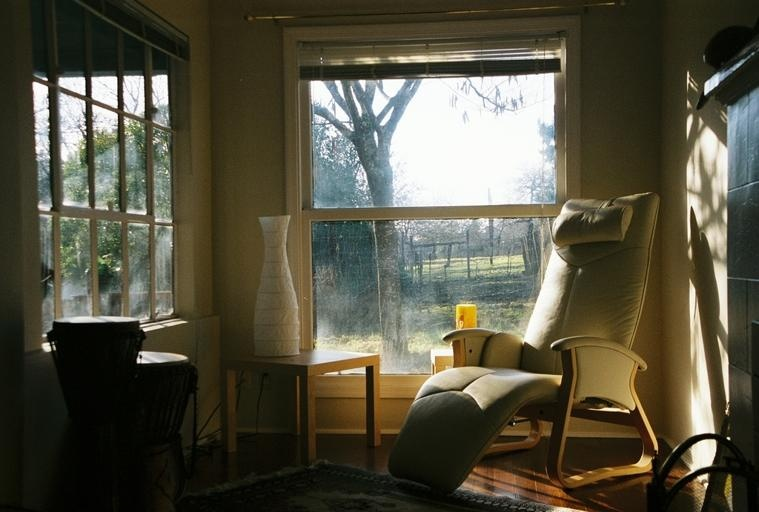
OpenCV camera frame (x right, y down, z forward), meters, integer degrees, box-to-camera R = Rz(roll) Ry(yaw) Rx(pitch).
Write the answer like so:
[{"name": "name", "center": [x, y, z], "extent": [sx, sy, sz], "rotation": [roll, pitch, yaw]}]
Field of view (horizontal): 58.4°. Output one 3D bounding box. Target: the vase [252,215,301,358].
[{"name": "vase", "center": [-0.675, 0.188, 4.415], "extent": [0.281, 0.879, 0.315], "rotation": [-2, 7, -8]}]

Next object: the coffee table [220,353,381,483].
[{"name": "coffee table", "center": [-0.465, 0.946, 4.417], "extent": [0.718, 0.639, 0.744], "rotation": [-2, -3, 39]}]

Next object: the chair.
[{"name": "chair", "center": [0.926, 0.469, 3.961], "extent": [1.613, 1.621, 0.819], "rotation": [-4, 8, -26]}]
